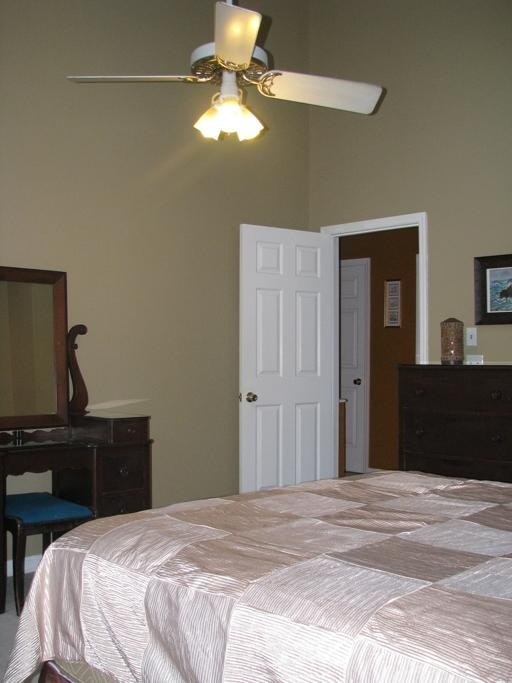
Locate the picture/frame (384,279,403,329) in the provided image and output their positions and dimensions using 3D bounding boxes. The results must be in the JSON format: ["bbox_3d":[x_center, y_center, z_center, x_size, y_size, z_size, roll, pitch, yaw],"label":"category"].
[{"bbox_3d":[1.515,-0.419,6.287,0.050,0.517,0.221,1,-5,-42],"label":"picture/frame"}]
